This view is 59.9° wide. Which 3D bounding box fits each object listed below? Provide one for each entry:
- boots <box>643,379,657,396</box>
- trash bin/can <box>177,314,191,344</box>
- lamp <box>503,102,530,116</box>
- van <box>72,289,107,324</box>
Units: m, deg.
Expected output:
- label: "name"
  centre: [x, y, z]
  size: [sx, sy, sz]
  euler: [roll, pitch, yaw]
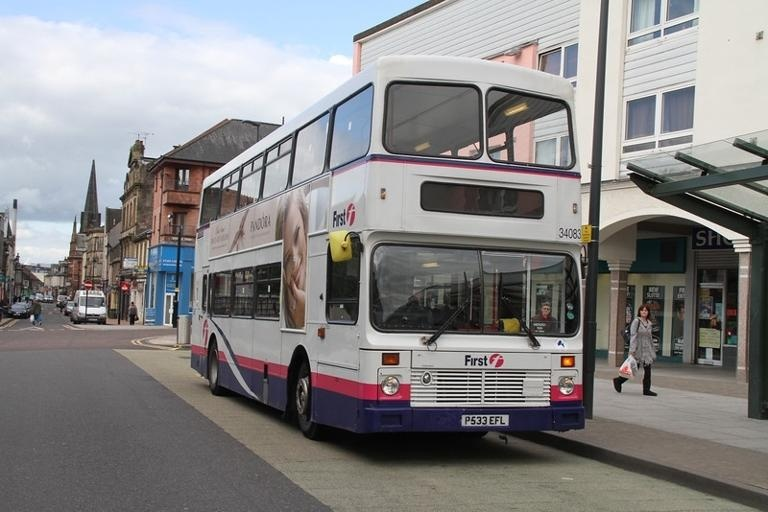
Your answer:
- label: "boots"
  centre: [7.022, 3.479, 17.436]
  size: [0.471, 0.486, 0.239]
  euler: [0, -1, -19]
- label: "trash bin/can"
  centre: [-10.421, 3.865, 34.682]
  size: [0.635, 1.498, 1.163]
  euler: [1, -3, -15]
- label: "lamp"
  centre: [2.118, -2.347, 10.671]
  size: [0.384, 0.135, 0.106]
  euler: [-18, -9, -32]
- label: "van"
  centre: [-28.102, 4.824, 63.976]
  size: [2.573, 3.280, 3.794]
  euler: [2, -3, -20]
